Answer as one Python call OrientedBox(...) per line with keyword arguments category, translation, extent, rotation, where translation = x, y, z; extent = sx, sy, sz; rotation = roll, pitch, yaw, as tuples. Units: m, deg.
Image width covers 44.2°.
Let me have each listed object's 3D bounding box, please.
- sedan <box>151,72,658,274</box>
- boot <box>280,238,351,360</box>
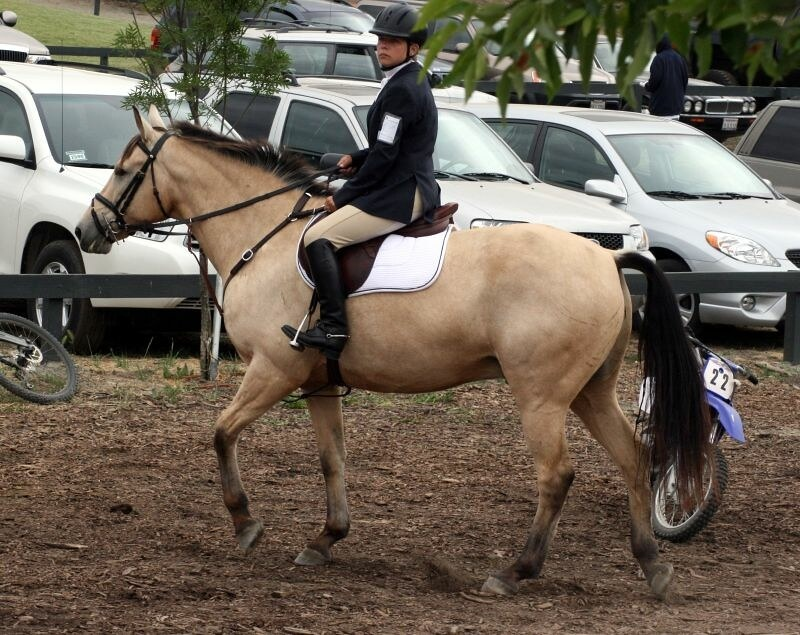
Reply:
OrientedBox(category="sedan", translation=(-0.177, -1.859, 11.012), extent=(5.660, 1.676, 2.449), rotation=(13, 14, 24))
OrientedBox(category="boot", translation=(-0.410, -0.113, 5.423), extent=(0.291, 0.650, 0.305), rotation=(4, 16, -3))
